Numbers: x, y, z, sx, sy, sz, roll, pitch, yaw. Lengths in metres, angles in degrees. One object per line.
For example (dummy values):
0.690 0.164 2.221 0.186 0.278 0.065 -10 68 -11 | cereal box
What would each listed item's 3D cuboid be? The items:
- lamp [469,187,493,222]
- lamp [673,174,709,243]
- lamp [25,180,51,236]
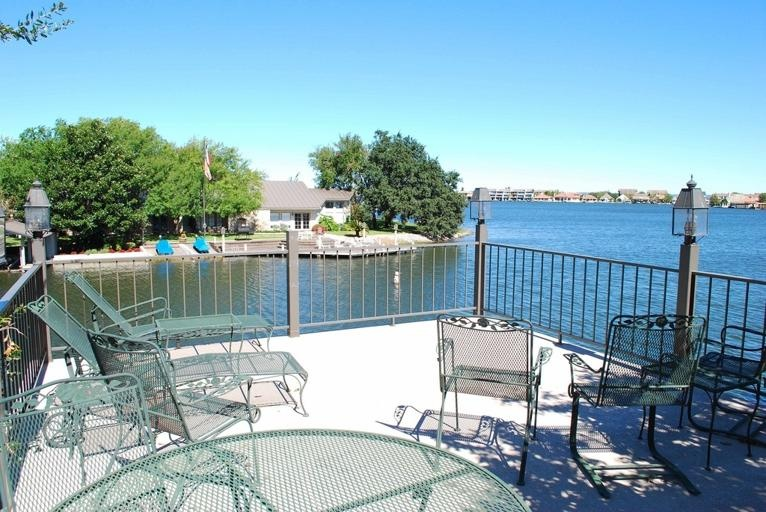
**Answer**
1.340 -0.719 7.781 0.438 0.596 0.425 0 10 3 | lamp
3.151 -0.473 5.717 0.317 0.666 0.439 3 9 26 | lamp
-3.812 -0.542 6.153 0.247 0.555 0.726 -6 9 -32 | lamp
